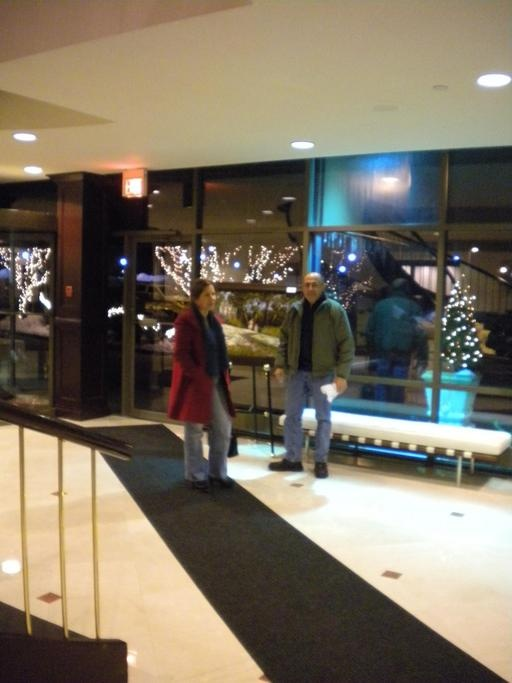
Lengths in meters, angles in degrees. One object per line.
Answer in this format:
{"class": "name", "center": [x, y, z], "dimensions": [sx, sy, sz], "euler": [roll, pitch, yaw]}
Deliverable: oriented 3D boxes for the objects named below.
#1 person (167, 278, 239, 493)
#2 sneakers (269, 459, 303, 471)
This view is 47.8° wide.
{"class": "person", "center": [-0.360, 0.321, 4.053], "dimensions": [0.361, 1.490, 0.510], "euler": [4, 2, 28]}
{"class": "sneakers", "center": [0.246, 1.027, 4.813], "dimensions": [0.279, 0.107, 0.107], "euler": [4, 0, 5]}
